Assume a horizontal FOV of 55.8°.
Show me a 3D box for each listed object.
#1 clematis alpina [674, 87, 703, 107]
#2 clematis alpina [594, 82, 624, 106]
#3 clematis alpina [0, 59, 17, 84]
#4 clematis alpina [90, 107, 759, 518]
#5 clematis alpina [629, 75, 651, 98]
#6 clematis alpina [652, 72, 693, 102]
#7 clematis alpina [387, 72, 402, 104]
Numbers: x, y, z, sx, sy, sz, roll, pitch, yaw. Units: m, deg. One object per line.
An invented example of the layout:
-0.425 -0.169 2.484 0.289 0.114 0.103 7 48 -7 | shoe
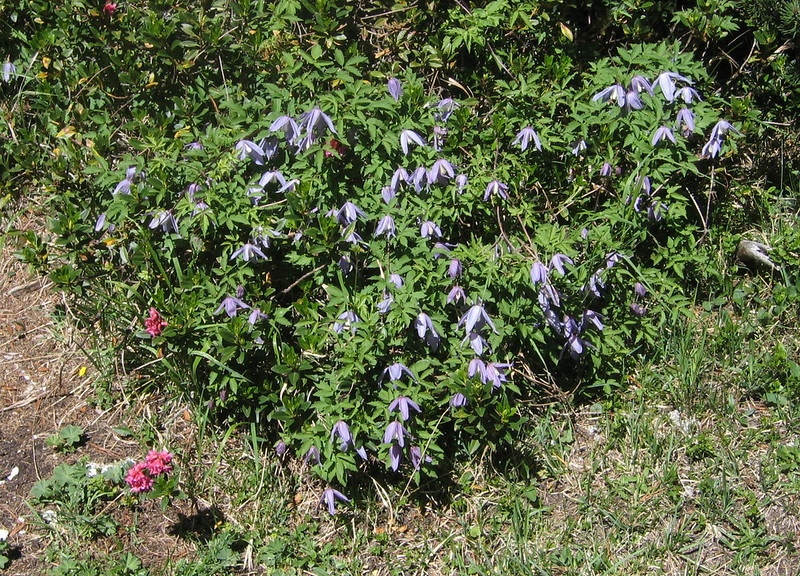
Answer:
1.814 -1.218 4.819 0.124 0.063 0.147 -12 56 18 | clematis alpina
1.312 -1.225 4.799 0.210 0.130 0.128 8 40 38 | clematis alpina
-2.809 -1.559 5.459 0.100 0.208 0.086 17 23 3 | clematis alpina
0.140 -0.547 5.830 2.904 3.150 1.295 -60 3 11 | clematis alpina
1.506 -1.275 4.769 0.146 0.134 0.082 -19 30 1 | clematis alpina
1.688 -1.223 4.739 0.214 0.228 0.076 -38 23 -23 | clematis alpina
-0.026 -1.217 4.577 0.092 0.142 0.045 -31 29 -30 | clematis alpina
